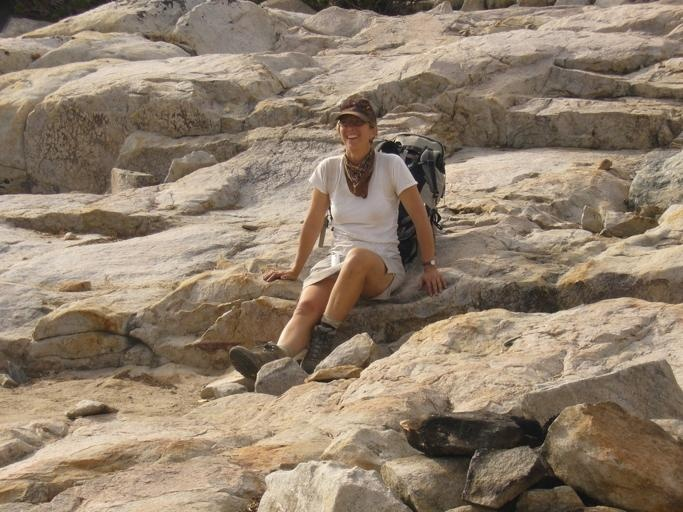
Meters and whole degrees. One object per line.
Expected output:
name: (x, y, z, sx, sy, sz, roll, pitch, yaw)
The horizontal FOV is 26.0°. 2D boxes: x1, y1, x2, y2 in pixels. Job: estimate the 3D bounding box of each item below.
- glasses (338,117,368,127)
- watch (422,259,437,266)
glasses: (0.107, -1.548, 16.851, 0.180, 0.045, 0.176, 3, -9, 17)
watch: (1.005, 0.077, 16.938, 0.118, 0.062, 0.111, -2, -9, -10)
